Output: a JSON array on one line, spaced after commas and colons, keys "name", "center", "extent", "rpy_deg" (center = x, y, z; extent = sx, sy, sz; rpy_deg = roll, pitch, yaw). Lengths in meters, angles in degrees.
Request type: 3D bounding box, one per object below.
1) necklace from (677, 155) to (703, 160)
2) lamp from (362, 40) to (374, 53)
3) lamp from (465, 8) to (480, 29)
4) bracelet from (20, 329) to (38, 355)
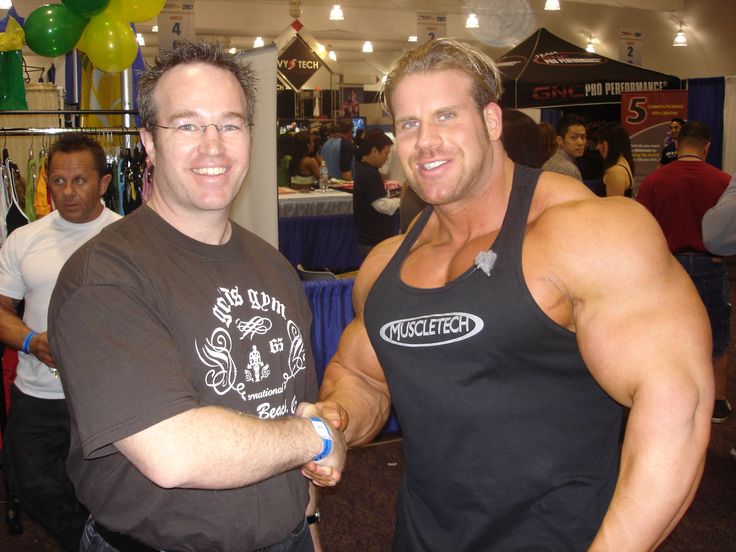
[{"name": "necklace", "center": [2.519, -0.909, 4.949], "extent": [0.093, 0.024, 0.092], "rpy_deg": [-5, 6, -43]}, {"name": "lamp", "center": [0.005, -6.232, 17.440], "extent": [0.416, 0.410, 0.443], "rpy_deg": [0, 17, 2]}, {"name": "lamp", "center": [2.567, -6.231, 15.530], "extent": [0.316, 0.329, 0.323], "rpy_deg": [-7, 17, -29]}, {"name": "bracelet", "center": [-1.690, 0.332, 3.155], "extent": [0.049, 0.120, 0.090], "rpy_deg": [38, -28, -31]}]
